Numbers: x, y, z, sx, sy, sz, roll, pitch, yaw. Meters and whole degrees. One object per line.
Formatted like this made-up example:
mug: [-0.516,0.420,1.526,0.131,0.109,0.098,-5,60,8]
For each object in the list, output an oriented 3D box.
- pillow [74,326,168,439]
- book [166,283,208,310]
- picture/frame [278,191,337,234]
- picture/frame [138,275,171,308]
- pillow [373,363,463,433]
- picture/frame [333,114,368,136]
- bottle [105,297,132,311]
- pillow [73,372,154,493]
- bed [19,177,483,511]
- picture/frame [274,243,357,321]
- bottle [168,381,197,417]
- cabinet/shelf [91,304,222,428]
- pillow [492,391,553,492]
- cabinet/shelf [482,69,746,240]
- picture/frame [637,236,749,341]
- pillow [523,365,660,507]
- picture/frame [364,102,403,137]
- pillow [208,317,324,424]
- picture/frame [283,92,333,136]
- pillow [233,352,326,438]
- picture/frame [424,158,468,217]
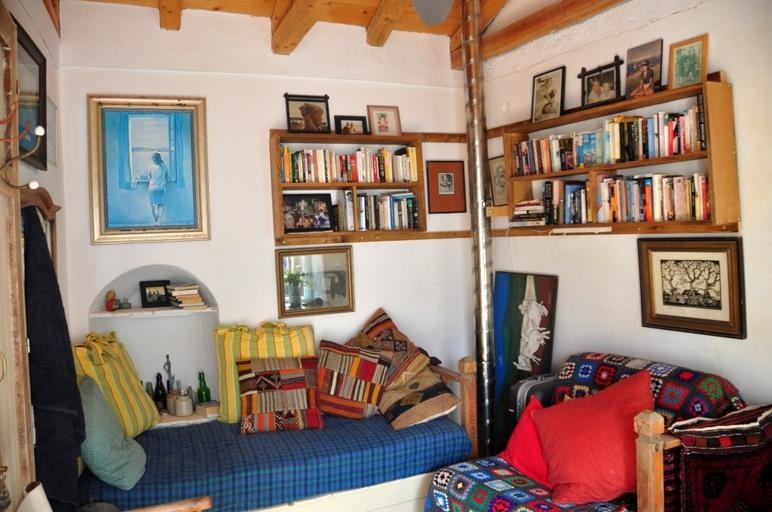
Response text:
pillow: [-1.981,1.021,4.477,0.229,0.802,0.834,-3,-29,-48]
book: [-1.722,0.308,4.835,0.286,0.135,0.207,0,8,-18]
picture/frame: [-0.740,-0.388,5.089,0.400,0.275,0.032,0,-9,-28]
picture/frame: [-2.020,0.321,4.869,0.271,0.289,0.030,-3,-11,-13]
pillow: [0.227,1.095,4.814,0.812,0.782,0.193,0,-25,38]
picture/frame: [-0.348,-1.206,5.204,0.265,0.185,0.021,0,-13,-16]
bottle: [-2.280,0.415,4.765,0.122,0.066,0.123,0,0,0]
pillow: [-1.884,1.204,3.864,0.388,0.539,0.396,-5,4,-25]
bed: [-1.155,0.713,4.446,2.681,1.822,0.871,-2,0,-28]
picture/frame: [-0.686,0.234,5.153,0.712,0.602,0.052,-3,5,-18]
bottle: [-1.742,1.244,4.768,0.164,0.269,0.271,-2,-2,25]
cabinet/shelf: [-2.014,0.987,4.870,1.030,0.936,0.333,9,0,14]
pillow: [0.988,1.286,3.906,0.121,0.393,0.394,15,2,-14]
cabinet/shelf: [1.686,-0.648,4.539,0.371,0.957,1.972,-5,3,-32]
picture/frame: [2.170,0.221,3.926,0.064,0.778,0.785,-4,3,-40]
pillow: [1.332,1.194,3.582,0.235,0.772,0.774,33,-39,-30]
picture/frame: [-0.046,-1.293,5.352,0.384,0.370,0.053,-2,-2,-18]
pillow: [-1.011,0.985,4.712,0.799,0.776,0.259,-2,-15,-12]
picture/frame: [-0.728,-1.269,5.062,0.452,0.409,0.061,0,-14,-26]
pillow: [-0.898,1.136,4.578,0.629,0.576,0.164,0,-21,-12]
picture/frame: [0.571,-0.684,5.602,0.577,0.688,0.028,-4,2,-20]
